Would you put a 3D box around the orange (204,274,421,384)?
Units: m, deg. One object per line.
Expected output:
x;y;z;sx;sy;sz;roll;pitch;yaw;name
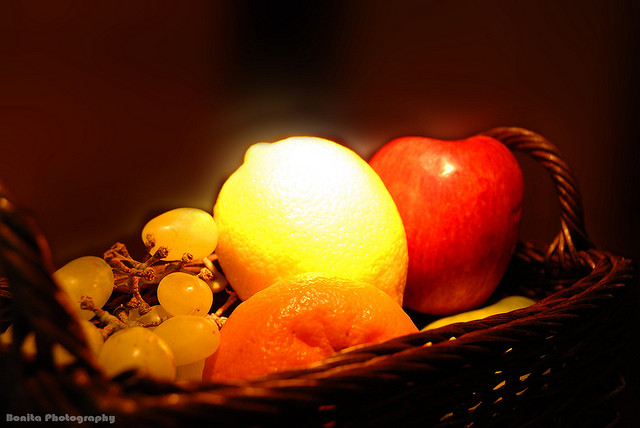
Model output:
-0.016;0.166;0.830;0.202;0.111;0.191;-8;-25;-33;orange

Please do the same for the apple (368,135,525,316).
0.254;0.016;1.151;0.311;0.354;0.306;-2;9;-26;apple

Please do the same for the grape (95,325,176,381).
-0.261;0.195;0.797;0.060;0.084;0.083;8;18;25;grape

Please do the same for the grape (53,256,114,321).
-0.380;0.108;0.919;0.091;0.101;0.059;-42;-29;-27;grape

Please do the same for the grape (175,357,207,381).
-0.193;0.238;0.850;0.035;0.044;0.036;0;-27;-7;grape

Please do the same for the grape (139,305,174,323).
-0.268;0.164;0.912;0.031;0.023;0.034;-8;-9;-9;grape

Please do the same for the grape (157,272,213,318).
-0.235;0.135;0.938;0.077;0.078;0.098;6;7;4;grape
